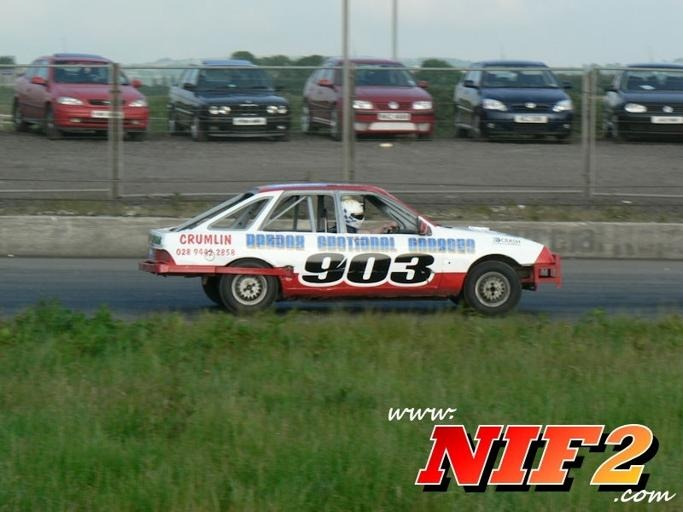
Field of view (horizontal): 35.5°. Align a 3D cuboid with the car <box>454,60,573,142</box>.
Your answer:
[{"bbox_3d":[2.477,-2.242,15.669,1.735,1.095,0.741,2,11,4],"label":"car"}]

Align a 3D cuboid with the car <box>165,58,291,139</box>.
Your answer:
[{"bbox_3d":[-1.687,-2.323,15.307,1.653,0.962,2.399,-1,5,-15],"label":"car"}]

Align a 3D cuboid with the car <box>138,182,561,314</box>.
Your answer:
[{"bbox_3d":[0.241,-0.056,11.939,4.107,1.011,1.740,-1,5,-7],"label":"car"}]

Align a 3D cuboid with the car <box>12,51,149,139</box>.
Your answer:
[{"bbox_3d":[-3.729,-2.215,15.232,1.826,1.066,0.753,-2,12,-14],"label":"car"}]
